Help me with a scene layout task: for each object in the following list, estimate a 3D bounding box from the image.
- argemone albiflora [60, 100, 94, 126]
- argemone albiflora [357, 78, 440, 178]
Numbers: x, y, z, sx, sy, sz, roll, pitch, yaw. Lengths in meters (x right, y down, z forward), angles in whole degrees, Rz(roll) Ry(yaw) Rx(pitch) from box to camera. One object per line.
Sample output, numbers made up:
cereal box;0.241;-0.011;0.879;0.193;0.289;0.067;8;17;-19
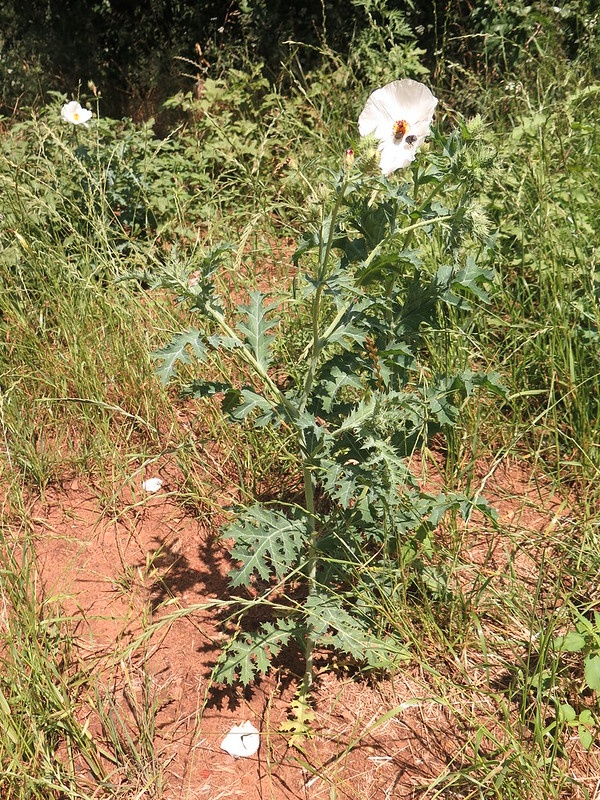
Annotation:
argemone albiflora;-1.145;-1.469;3.875;0.129;0.132;0.314;-11;28;-11
argemone albiflora;0.274;-0.787;2.165;0.204;0.238;0.203;-8;28;-6
